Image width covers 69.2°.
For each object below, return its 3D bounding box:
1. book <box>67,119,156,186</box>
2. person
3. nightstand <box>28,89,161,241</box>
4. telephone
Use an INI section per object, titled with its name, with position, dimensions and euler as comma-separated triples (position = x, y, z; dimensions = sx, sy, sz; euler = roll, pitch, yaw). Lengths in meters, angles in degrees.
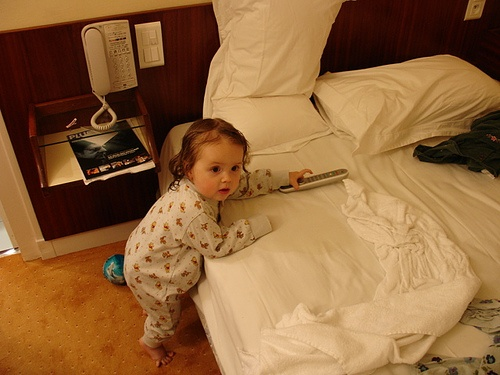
[book]
position = -0.605, -0.158, 1.530
dimensions = 0.289, 0.064, 0.316
euler = -20, 61, -16
[person]
position = -0.139, 0.252, 1.457
dimensions = 0.748, 1.044, 0.367
euler = -1, 25, -12
[nightstand]
position = -0.766, -0.085, 1.827
dimensions = 0.507, 0.683, 0.384
euler = -12, 57, -27
[telephone]
position = -0.595, -0.528, 1.530
dimensions = 0.191, 0.297, 0.062
euler = -14, 41, -21
